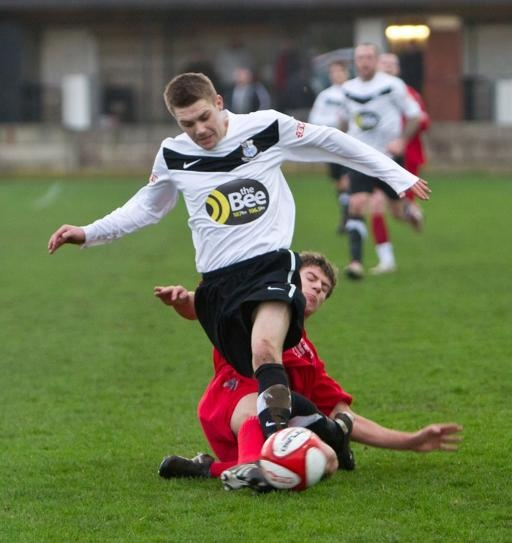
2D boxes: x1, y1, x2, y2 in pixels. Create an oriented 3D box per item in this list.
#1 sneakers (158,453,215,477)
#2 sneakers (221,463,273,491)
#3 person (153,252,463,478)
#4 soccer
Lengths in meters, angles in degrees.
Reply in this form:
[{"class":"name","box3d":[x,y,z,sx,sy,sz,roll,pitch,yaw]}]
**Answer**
[{"class":"sneakers","box3d":[-0.288,0.788,4.340,0.232,0.083,0.094,12,44,-9]},{"class":"sneakers","box3d":[-0.041,0.755,3.981,0.167,0.078,0.094,5,30,-13]},{"class":"person","box3d":[0.132,0.409,4.453,1.152,0.854,0.946,-4,11,-13]},{"class":"soccer","box3d":[0.145,0.681,4.029,0.192,0.185,0.240,-19,6,17]}]
